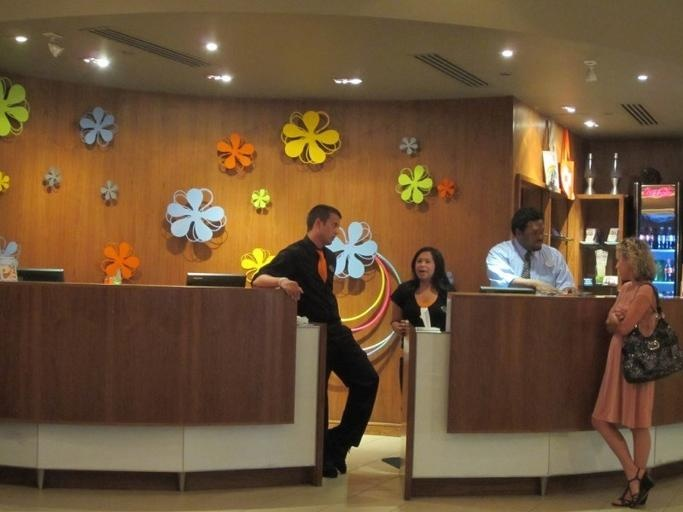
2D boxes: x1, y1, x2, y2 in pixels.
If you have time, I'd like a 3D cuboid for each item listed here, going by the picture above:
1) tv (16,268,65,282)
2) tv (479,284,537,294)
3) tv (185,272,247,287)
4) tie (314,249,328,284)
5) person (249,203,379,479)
[{"bbox_3d":[-2.342,0.146,5.314,0.385,0.097,0.273,-1,-1,35],"label":"tv"},{"bbox_3d":[1.332,0.271,5.516,0.403,0.038,0.693,0,-1,11],"label":"tv"},{"bbox_3d":[-0.951,0.180,5.140,0.429,0.090,0.177,0,-1,-12],"label":"tv"},{"bbox_3d":[-0.158,0.079,5.515,0.067,0.259,0.137,-1,-1,32],"label":"tie"},{"bbox_3d":[-0.150,0.670,5.506,0.883,2.163,0.232,0,-1,-21],"label":"person"}]
